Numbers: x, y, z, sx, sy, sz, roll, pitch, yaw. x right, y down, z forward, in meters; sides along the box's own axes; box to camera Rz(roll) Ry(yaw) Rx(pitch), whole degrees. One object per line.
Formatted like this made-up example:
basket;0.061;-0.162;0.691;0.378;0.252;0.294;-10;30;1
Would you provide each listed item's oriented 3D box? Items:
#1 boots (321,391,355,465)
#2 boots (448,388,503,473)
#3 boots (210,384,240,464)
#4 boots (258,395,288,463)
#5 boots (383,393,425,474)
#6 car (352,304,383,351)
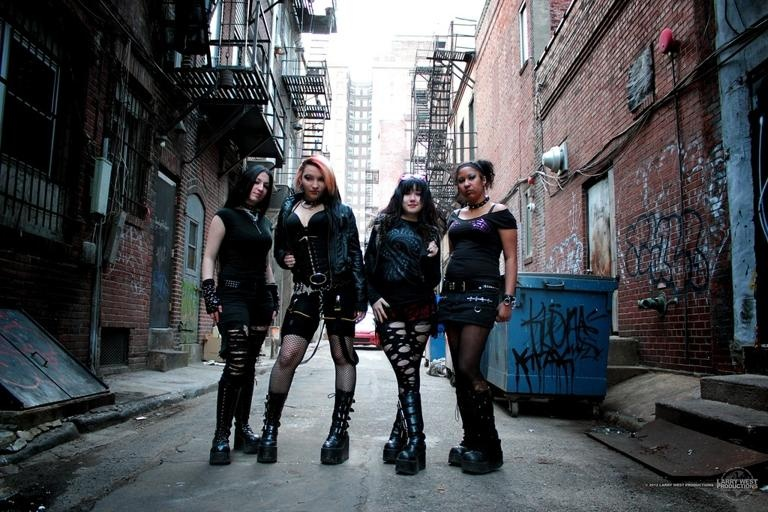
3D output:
boots;-0.441;1.580;4.911;0.299;0.657;0.286;2;-8;-7
boots;0.839;1.596;4.827;0.493;0.721;0.321;-1;-8;10
boots;-1.466;1.522;4.798;0.232;0.700;0.248;4;-8;-20
boots;-1.056;1.575;4.884;0.230;0.621;0.311;2;-8;-13
boots;0.171;1.581;4.779;0.400;0.698;0.349;-1;-8;13
car;-0.920;3.483;25.127;2.033;1.528;4.442;-1;-8;2
